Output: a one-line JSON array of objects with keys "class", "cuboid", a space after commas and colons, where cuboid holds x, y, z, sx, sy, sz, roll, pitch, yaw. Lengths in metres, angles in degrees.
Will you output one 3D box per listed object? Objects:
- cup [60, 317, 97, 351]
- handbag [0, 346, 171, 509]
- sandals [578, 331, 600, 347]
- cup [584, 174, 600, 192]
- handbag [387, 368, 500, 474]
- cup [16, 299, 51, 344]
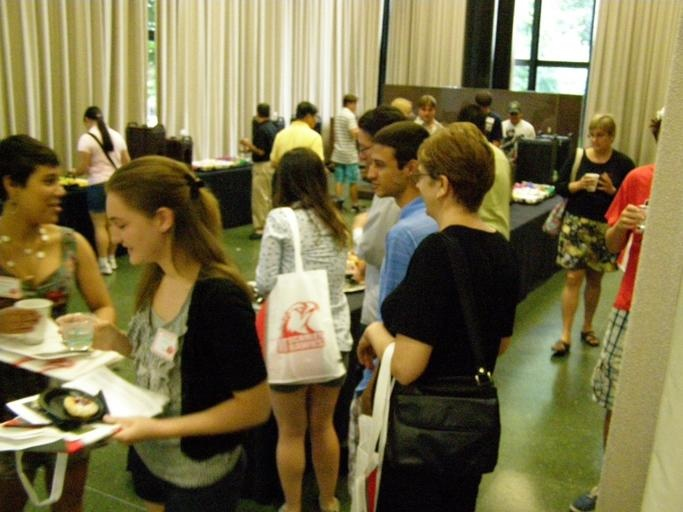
[{"class": "cup", "cuboid": [-0.797, 0.239, 1.689, 0.092, 0.105, 0.099, -1, -1, 0]}, {"class": "handbag", "cuboid": [-0.783, 0.473, 1.565, 0.590, 0.310, 0.374, 11, 15, 42]}, {"class": "sandals", "cuboid": [2.054, 0.690, 4.636, 0.072, 0.070, 0.172, -4, 2, 2]}, {"class": "cup", "cuboid": [1.773, -0.529, 4.024, 0.121, 0.135, 0.122, 1, 9, 0]}, {"class": "handbag", "cuboid": [0.291, 0.482, 1.605, 0.295, 0.251, 0.097, 1, 11, 1]}, {"class": "cup", "cuboid": [-0.964, 0.204, 1.774, 0.120, 0.138, 0.121, 1, -6, 0]}]
